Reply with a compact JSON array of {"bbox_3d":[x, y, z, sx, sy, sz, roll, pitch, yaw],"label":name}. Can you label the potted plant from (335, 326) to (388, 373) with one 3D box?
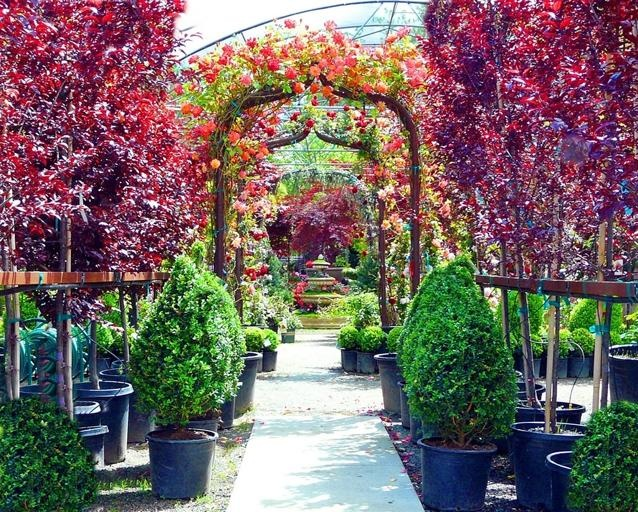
[{"bbox_3d":[0.565,1.253,9.085,0.821,0.797,0.586,1,-8,0],"label":"potted plant"}]
